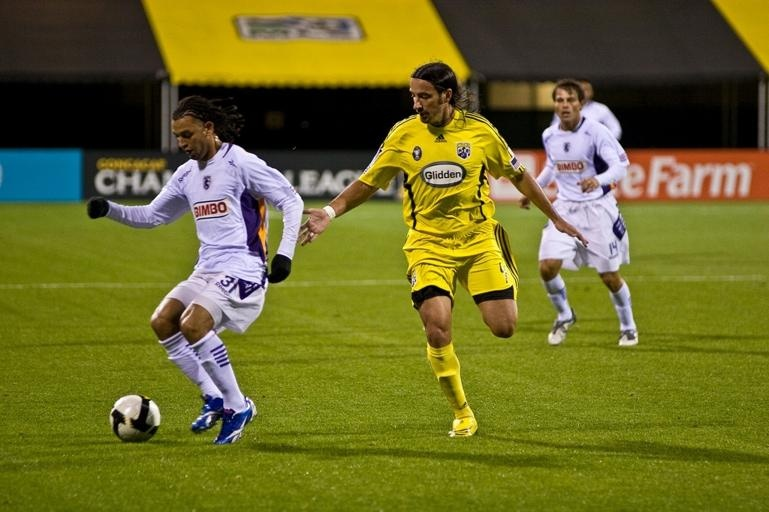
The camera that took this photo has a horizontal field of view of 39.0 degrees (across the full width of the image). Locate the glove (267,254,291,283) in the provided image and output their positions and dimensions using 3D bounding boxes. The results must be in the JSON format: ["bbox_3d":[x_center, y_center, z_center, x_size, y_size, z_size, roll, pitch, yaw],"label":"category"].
[{"bbox_3d":[-0.948,0.120,9.776,0.206,0.262,0.262,21,-9,-6],"label":"glove"}]

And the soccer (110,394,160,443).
[{"bbox_3d":[-2.251,1.508,9.882,0.450,0.448,0.449,-14,-22,29],"label":"soccer"}]

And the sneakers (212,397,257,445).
[{"bbox_3d":[-1.331,1.542,9.838,0.203,0.539,0.259,22,-6,26],"label":"sneakers"}]

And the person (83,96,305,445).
[{"bbox_3d":[-1.577,0.083,9.927,1.644,3.070,1.103,0,13,4],"label":"person"}]

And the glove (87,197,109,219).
[{"bbox_3d":[-2.663,-0.446,10.067,0.201,0.174,0.205,-12,6,-24],"label":"glove"}]

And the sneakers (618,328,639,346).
[{"bbox_3d":[2.824,0.927,12.473,0.239,0.173,0.282,1,12,9],"label":"sneakers"}]

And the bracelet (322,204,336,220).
[{"bbox_3d":[-0.495,-0.406,10.027,0.130,0.130,0.117,-40,16,-4],"label":"bracelet"}]
